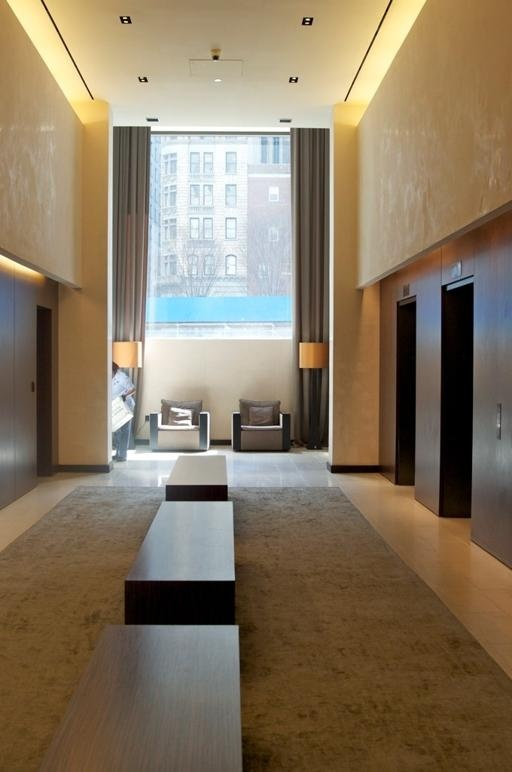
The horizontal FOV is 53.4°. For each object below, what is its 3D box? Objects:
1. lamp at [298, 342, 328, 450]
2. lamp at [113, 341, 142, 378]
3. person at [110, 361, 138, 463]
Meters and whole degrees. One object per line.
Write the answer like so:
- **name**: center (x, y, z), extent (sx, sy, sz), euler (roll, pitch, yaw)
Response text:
- **lamp**: center (1.016, 0.207, 9.039), extent (0.443, 1.866, 1.229), euler (0, 0, 5)
- **lamp**: center (-2.104, -0.418, 8.373), extent (0.350, 0.615, 0.399), euler (0, 1, 37)
- **person**: center (-2.183, 0.402, 8.349), extent (0.345, 1.562, 1.503), euler (0, 0, -15)
